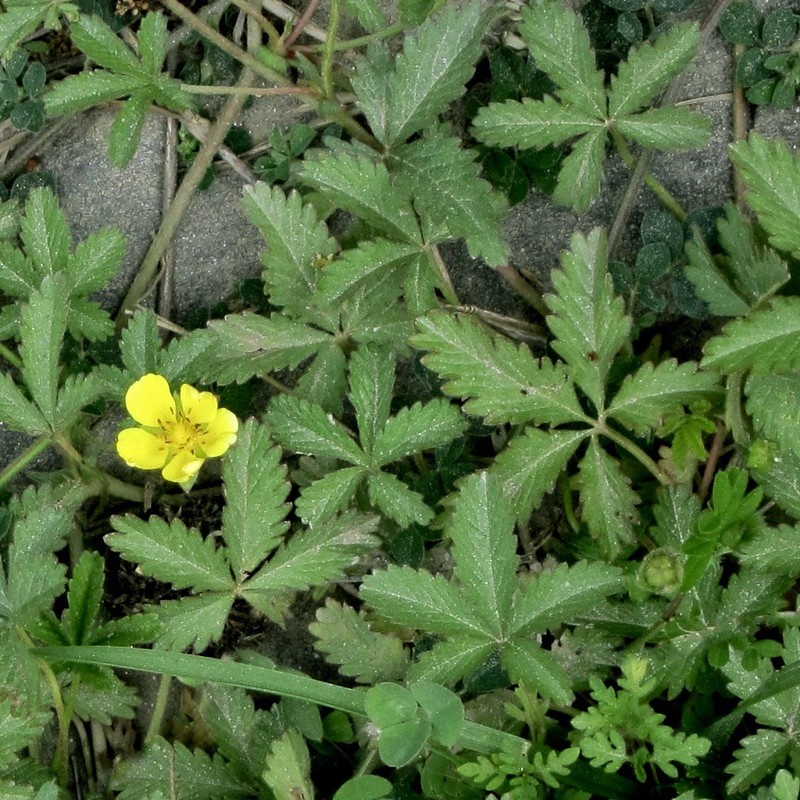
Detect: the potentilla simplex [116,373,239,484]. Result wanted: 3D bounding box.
[{"bbox_3d":[-0.582,0.085,2.502,0.343,0.138,0.315,27,25,26],"label":"potentilla simplex"}]
